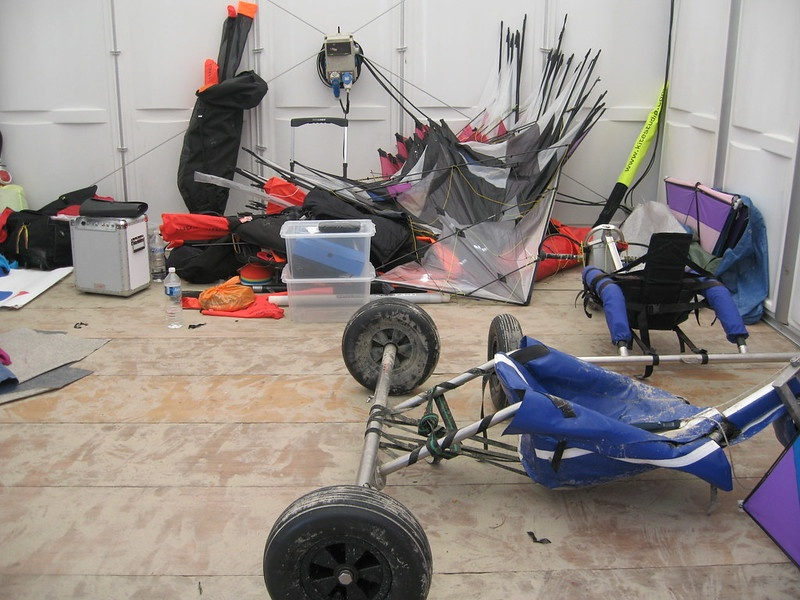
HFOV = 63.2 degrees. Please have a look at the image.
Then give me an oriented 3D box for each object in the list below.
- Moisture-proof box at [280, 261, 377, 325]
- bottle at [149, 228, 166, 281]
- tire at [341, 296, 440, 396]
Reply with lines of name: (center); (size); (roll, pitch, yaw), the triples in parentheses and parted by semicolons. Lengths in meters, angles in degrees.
Moisture-proof box: (-0.433, -0.040, 4.155); (0.590, 0.256, 0.358); (-1, 26, -2)
bottle: (-1.852, -0.356, 4.959); (0.118, 0.386, 0.289); (-4, 24, -20)
tire: (-0.046, 0.249, 3.158); (0.484, 0.397, 0.165); (-20, 9, 3)
